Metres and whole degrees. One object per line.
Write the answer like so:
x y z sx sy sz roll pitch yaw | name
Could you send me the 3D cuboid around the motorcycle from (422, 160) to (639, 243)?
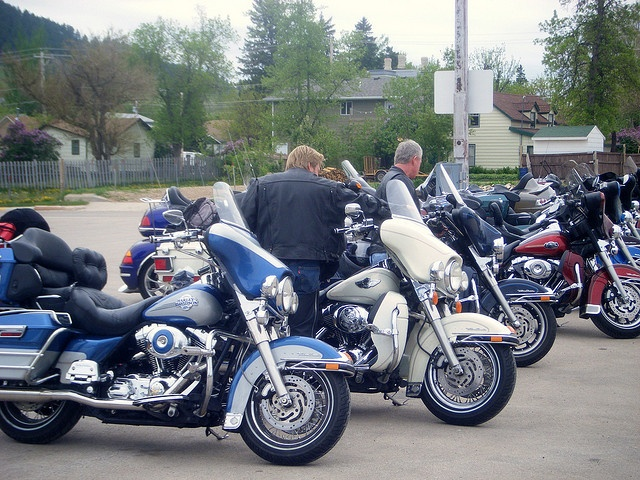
2.919 -0.549 11.179 2.943 1.800 1.867 -2 6 -1 | motorcycle
